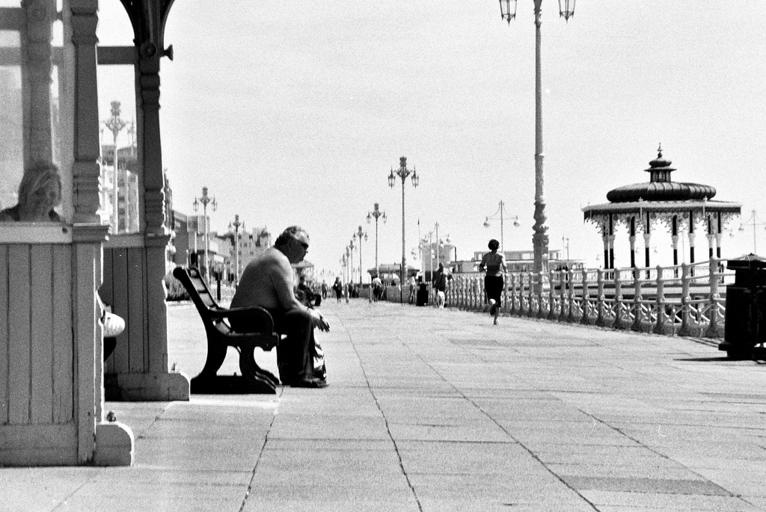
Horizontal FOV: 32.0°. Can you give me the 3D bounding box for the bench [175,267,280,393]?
[{"bbox_3d":[-1.622,0.757,14.074,1.082,1.291,0.967,-1,1,-16],"label":"bench"}]
